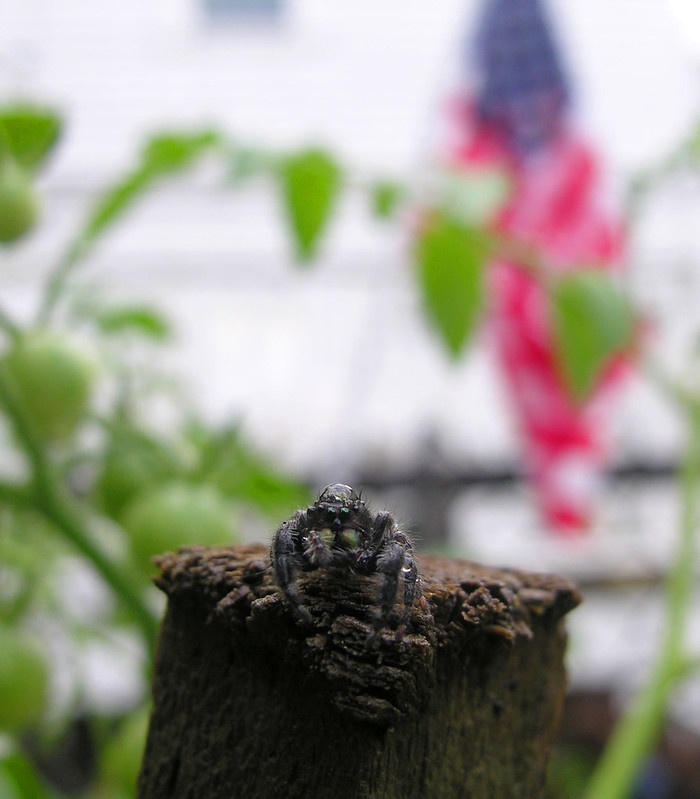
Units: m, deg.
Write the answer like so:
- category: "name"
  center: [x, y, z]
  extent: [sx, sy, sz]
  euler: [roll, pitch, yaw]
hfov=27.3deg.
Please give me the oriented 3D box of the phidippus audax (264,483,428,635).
- category: "phidippus audax"
  center: [-0.003, 0.120, 1.082]
  extent: [0.113, 0.041, 0.127]
  euler: [13, 54, 6]
